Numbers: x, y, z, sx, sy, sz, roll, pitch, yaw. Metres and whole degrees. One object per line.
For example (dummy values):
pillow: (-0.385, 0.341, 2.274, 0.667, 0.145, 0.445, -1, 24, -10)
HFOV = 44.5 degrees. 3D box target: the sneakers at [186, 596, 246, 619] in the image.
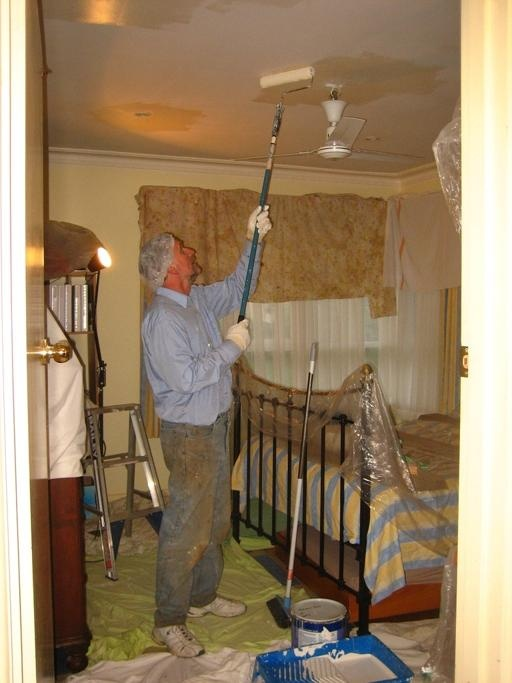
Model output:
sneakers: (-0.168, 1.138, 2.664, 0.229, 0.086, 0.082, -6, 13, -5)

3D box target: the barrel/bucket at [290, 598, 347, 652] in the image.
barrel/bucket: (0.208, 0.954, 2.194, 0.191, 0.193, 0.185, 0, -2, 0)

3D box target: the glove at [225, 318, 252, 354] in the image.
glove: (-0.078, -0.020, 2.555, 0.102, 0.129, 0.036, 27, -39, -35)

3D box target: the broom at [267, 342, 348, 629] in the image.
broom: (0.151, 0.578, 2.765, 0.236, 1.154, 0.616, -1, 3, 4)

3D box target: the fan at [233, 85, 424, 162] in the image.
fan: (0.335, -0.965, 2.771, 0.784, 0.305, 0.685, 2, 17, 33)

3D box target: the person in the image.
person: (-0.207, 0.307, 2.561, 0.472, 1.729, 0.612, 0, 3, 21)
